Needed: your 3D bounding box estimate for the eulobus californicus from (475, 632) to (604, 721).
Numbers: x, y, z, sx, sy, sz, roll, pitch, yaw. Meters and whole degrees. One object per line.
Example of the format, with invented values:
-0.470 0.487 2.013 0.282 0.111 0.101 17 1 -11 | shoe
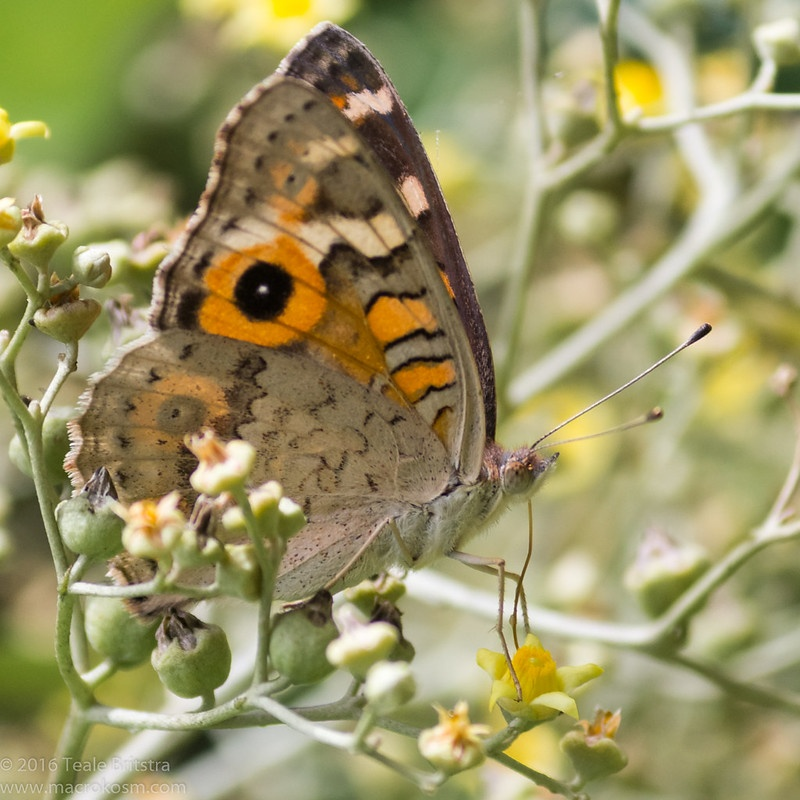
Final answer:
0.313 0.611 2.476 0.266 0.172 0.318 -8 1 -8 | eulobus californicus
